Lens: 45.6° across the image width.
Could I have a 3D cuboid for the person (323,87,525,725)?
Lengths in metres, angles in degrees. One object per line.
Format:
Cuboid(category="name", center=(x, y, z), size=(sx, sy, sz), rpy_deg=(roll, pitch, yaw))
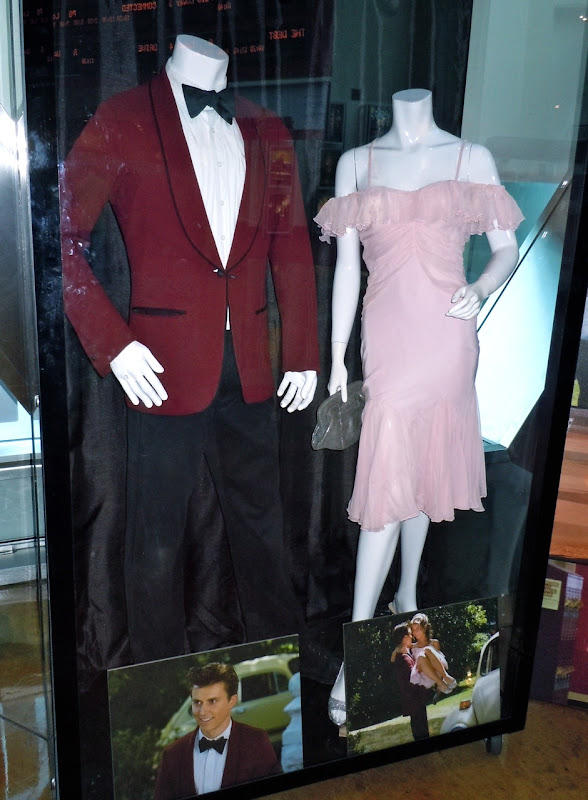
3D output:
Cuboid(category="person", center=(0.266, -0.177, 1.559), size=(0.463, 0.966, 0.113), rpy_deg=(-2, 13, -19))
